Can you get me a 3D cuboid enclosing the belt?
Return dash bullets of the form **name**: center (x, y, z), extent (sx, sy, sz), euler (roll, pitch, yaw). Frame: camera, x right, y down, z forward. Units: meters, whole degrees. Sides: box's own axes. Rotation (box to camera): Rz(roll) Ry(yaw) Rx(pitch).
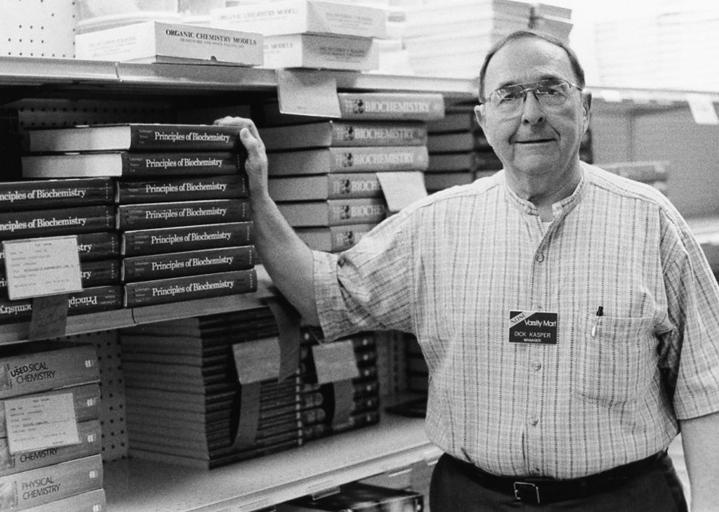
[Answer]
- **belt**: center (0.498, 0.569, 1.831), extent (0.595, 0.121, 0.150), euler (-6, -1, 13)
